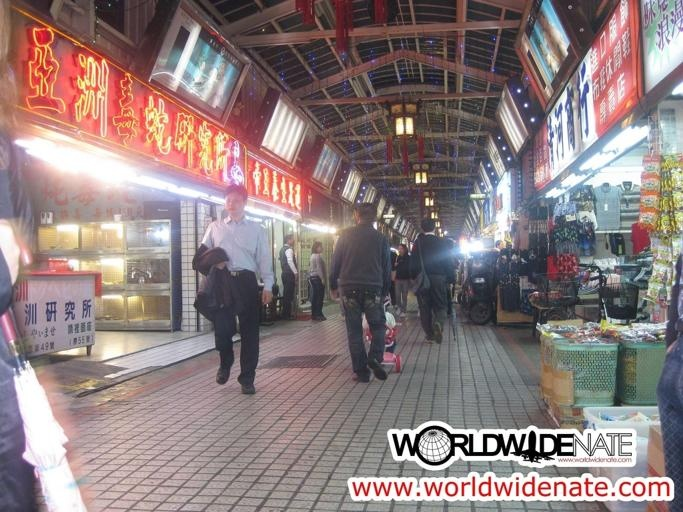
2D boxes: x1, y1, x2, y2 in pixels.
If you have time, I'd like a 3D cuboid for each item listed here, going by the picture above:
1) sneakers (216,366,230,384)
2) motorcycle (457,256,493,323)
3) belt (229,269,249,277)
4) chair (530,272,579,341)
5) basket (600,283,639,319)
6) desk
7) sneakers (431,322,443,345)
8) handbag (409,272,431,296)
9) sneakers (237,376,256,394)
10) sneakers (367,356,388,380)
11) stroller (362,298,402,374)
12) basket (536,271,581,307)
[{"bbox_3d":[-1.297,1.301,5.258,0.126,0.197,0.111,-3,-1,5],"label":"sneakers"},{"bbox_3d":[3.403,0.433,12.023,0.766,1.516,2.783,1,10,15],"label":"motorcycle"},{"bbox_3d":[-1.090,0.177,5.130,0.173,0.067,0.049,-3,-1,-15],"label":"belt"},{"bbox_3d":[3.452,0.850,7.928,0.733,1.331,0.906,-4,-12,39],"label":"chair"},{"bbox_3d":[4.011,0.653,7.002,0.488,0.557,0.157,-3,-2,24],"label":"basket"},{"bbox_3d":[-4.388,0.931,7.024,0.902,1.311,1.477,-5,-3,11],"label":"desk"},{"bbox_3d":[1.548,1.242,7.924,0.158,0.419,0.167,-1,-3,12],"label":"sneakers"},{"bbox_3d":[1.299,0.446,7.948,0.158,0.280,0.310,-12,-43,-10],"label":"handbag"},{"bbox_3d":[-1.016,1.365,5.176,0.170,0.201,0.172,-3,-1,-12],"label":"sneakers"},{"bbox_3d":[0.412,1.305,5.616,0.131,0.347,0.145,-30,3,29],"label":"sneakers"},{"bbox_3d":[0.707,1.176,7.394,0.423,0.840,1.353,13,-1,4],"label":"stroller"},{"bbox_3d":[3.484,0.562,7.824,0.547,0.603,0.588,0,0,7],"label":"basket"}]
